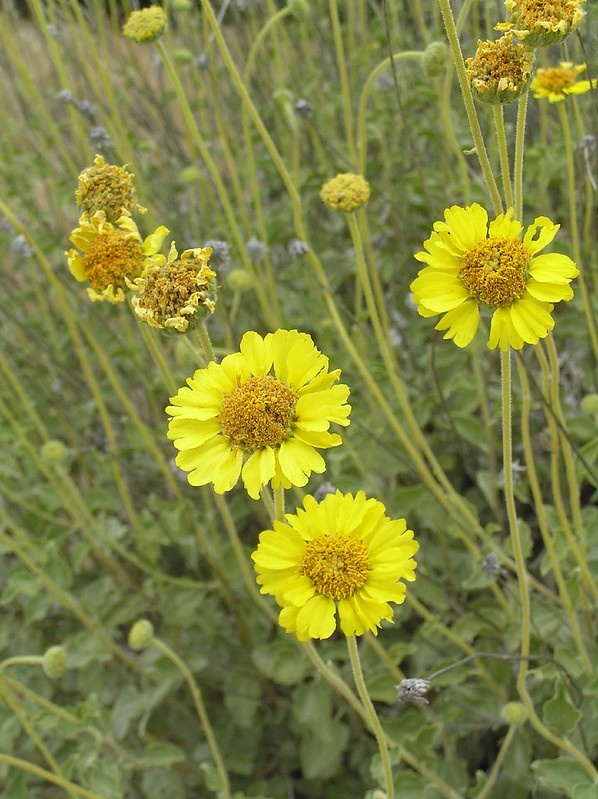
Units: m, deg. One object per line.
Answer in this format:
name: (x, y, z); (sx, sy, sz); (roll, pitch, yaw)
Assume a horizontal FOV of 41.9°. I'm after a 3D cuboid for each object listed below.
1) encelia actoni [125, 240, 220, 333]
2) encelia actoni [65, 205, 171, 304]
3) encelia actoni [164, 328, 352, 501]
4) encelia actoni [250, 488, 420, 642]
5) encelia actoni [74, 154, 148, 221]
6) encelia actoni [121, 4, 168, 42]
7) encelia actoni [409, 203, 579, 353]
encelia actoni: (-0.147, -0.117, 0.892); (0.110, 0.065, 0.105); (-15, 27, -7)
encelia actoni: (-0.203, -0.175, 0.956); (0.107, 0.062, 0.107); (-12, 14, 20)
encelia actoni: (-0.041, 0.016, 0.812); (0.185, 0.080, 0.183); (-24, 43, 18)
encelia actoni: (0.040, 0.156, 0.791); (0.172, 0.052, 0.147); (-14, 12, -6)
encelia actoni: (-0.227, -0.246, 0.938); (0.042, 0.075, 0.070); (14, 56, 36)
encelia actoni: (-0.206, -0.501, 1.043); (0.067, 0.024, 0.074); (-14, 43, 12)
encelia actoni: (0.198, -0.127, 0.767); (0.152, 0.104, 0.142); (-38, 43, -15)
